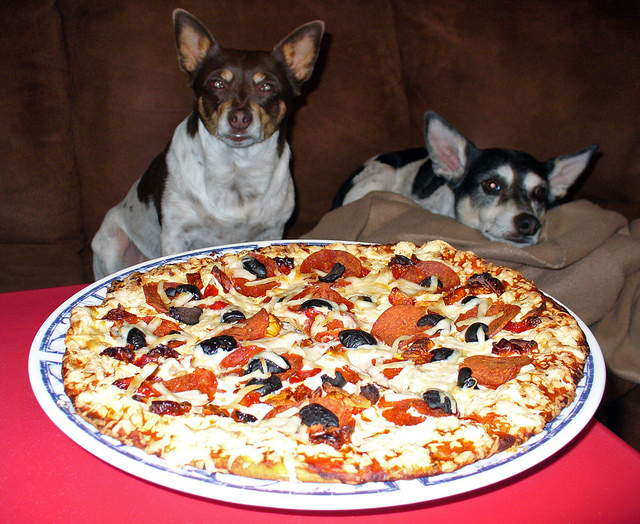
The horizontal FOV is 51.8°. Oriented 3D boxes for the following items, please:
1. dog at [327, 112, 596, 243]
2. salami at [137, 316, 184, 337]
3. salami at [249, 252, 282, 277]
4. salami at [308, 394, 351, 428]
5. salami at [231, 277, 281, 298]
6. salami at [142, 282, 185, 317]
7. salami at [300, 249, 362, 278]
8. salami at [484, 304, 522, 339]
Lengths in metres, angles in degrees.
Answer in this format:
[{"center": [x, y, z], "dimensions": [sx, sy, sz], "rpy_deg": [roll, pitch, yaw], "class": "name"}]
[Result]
[{"center": [1.029, -0.548, 5.061], "dimensions": [0.897, 0.897, 1.642], "rpy_deg": [5, 19, -25], "class": "dog"}, {"center": [-0.726, 0.295, 2.982], "dimensions": [0.126, 0.032, 0.116], "rpy_deg": [4, 17, -13], "class": "salami"}, {"center": [-0.269, 0.011, 3.486], "dimensions": [0.098, 0.038, 0.163], "rpy_deg": [-3, 40, -32], "class": "salami"}, {"center": [0.069, 0.583, 2.581], "dimensions": [0.153, 0.049, 0.191], "rpy_deg": [12, 8, -23], "class": "salami"}, {"center": [-0.323, 0.133, 3.343], "dimensions": [0.169, 0.031, 0.100], "rpy_deg": [-9, 51, -21], "class": "salami"}, {"center": [-0.791, 0.177, 3.212], "dimensions": [0.148, 0.061, 0.176], "rpy_deg": [28, 9, -8], "class": "salami"}, {"center": [0.063, 0.013, 3.518], "dimensions": [0.220, 0.070, 0.285], "rpy_deg": [-11, 20, -38], "class": "salami"}, {"center": [0.860, 0.291, 3.051], "dimensions": [0.040, 0.149, 0.169], "rpy_deg": [21, 18, -2], "class": "salami"}]
